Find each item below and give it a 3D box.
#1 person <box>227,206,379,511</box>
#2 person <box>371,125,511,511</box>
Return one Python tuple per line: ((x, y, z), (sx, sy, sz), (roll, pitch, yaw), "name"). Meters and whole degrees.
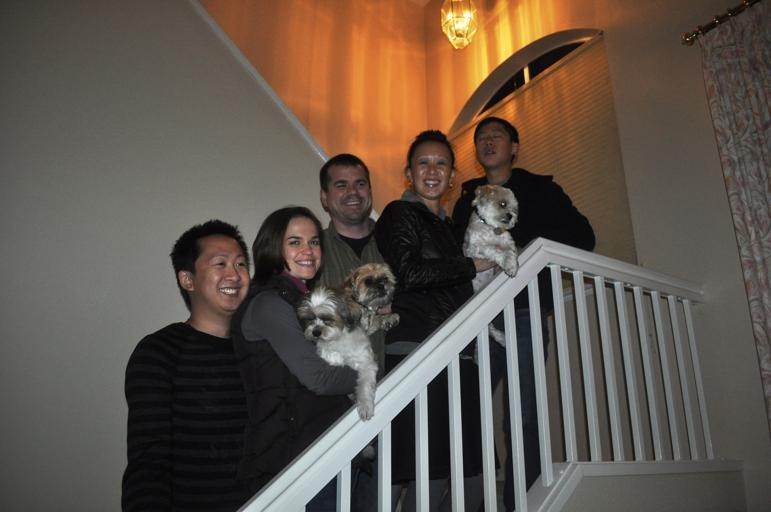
((-0.479, 0.619, 3.462), (0.737, 1.897, 0.629), (-4, -3, 26), "person")
((0.271, 0.324, 3.603), (0.677, 2.409, 0.741), (-2, -3, -12), "person")
